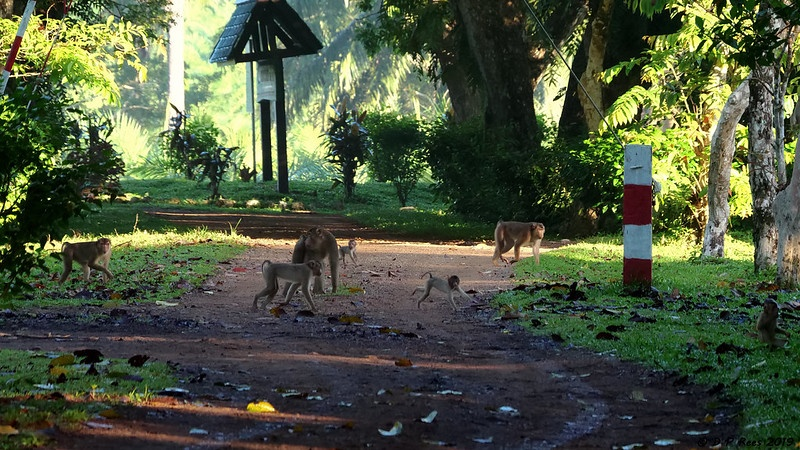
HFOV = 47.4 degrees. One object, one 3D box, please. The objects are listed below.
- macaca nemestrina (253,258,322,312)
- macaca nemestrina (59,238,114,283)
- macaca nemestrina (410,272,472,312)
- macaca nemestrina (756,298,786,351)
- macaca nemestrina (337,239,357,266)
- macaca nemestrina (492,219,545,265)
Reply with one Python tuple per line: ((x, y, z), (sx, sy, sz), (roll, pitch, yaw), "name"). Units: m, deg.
((-2.145, 1.131, 17.351), (1.351, 0.936, 0.450), (-1, -3, -15), "macaca nemestrina")
((-6.445, 0.726, 18.620), (1.336, 0.841, 0.474), (-4, 0, 25), "macaca nemestrina")
((0.676, 1.204, 17.997), (1.510, 0.761, 0.498), (3, 18, 33), "macaca nemestrina")
((5.979, 1.555, 14.546), (0.482, 0.765, 0.616), (1, -3, 22), "macaca nemestrina")
((-1.254, 0.671, 21.982), (0.463, 0.591, 0.754), (2, -2, -4), "macaca nemestrina")
((2.832, 0.389, 21.638), (0.561, 1.101, 1.741), (8, -6, -36), "macaca nemestrina")
